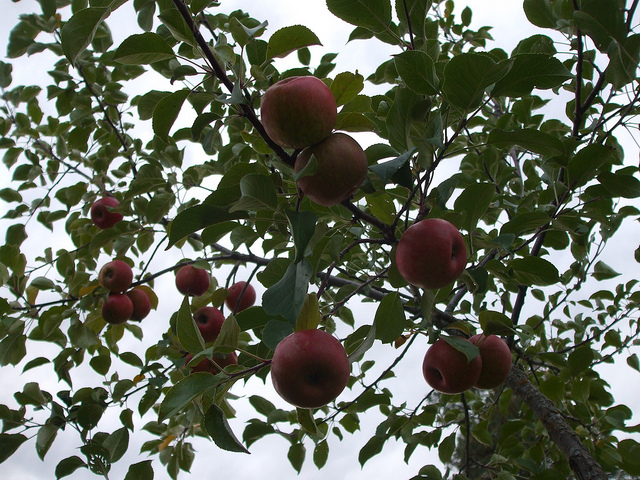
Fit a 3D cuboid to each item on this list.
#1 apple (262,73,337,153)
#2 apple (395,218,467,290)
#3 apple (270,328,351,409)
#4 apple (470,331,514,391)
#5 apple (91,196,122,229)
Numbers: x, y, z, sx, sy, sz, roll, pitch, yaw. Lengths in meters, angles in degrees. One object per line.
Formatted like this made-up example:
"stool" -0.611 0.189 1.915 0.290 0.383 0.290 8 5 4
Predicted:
"apple" -0.101 -0.801 3.174 0.396 0.434 0.403 -9 -59 16
"apple" 0.732 0.101 3.523 0.414 0.458 0.463 20 -89 14
"apple" -0.079 0.820 3.329 0.439 0.434 0.494 7 -67 -11
"apple" 1.315 0.937 4.019 0.309 0.332 0.421 -8 -99 32
"apple" -2.061 -0.266 5.042 0.268 0.339 0.312 12 -77 13
